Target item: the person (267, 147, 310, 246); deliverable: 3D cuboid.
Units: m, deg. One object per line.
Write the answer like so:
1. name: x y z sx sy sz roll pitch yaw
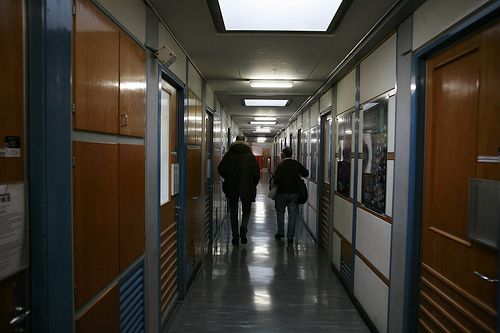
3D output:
1. person: 0.701 0.640 6.068 0.659 1.514 0.275 2 8 6

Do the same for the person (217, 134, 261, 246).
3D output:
1. person: -0.197 0.471 5.872 0.599 1.807 0.525 7 10 34

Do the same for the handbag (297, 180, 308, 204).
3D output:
1. handbag: 0.947 0.469 6.040 0.181 0.519 0.500 0 -4 5
